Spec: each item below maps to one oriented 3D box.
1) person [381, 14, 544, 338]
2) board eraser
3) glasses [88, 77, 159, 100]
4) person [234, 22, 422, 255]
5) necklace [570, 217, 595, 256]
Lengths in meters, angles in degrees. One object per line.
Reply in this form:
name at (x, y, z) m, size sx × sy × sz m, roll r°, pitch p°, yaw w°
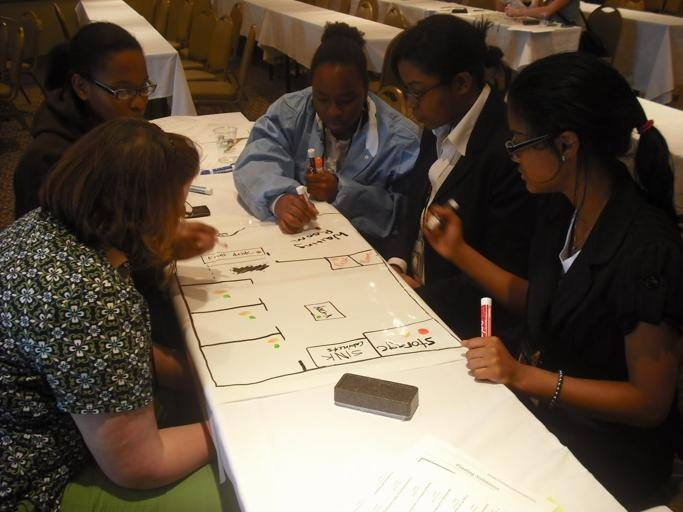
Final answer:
person at (0.531, -0.096, 2.298) m, size 0.595 × 1.785 × 0.675 m, roll -17°, pitch 36°, yaw -19°
board eraser at (0.078, 0.313, 1.137) m, size 0.186 × 0.049 × 0.077 m, roll 12°, pitch 32°, yaw 12°
glasses at (-0.842, -0.641, 1.907) m, size 0.131 × 0.039 × 0.131 m, roll 34°, pitch 32°, yaw 19°
person at (-0.053, -0.364, 2.205) m, size 0.603 × 1.133 × 0.643 m, roll -8°, pitch 31°, yaw -19°
necklace at (0.707, -0.056, 1.504) m, size 0.062 × 0.111 × 0.071 m, roll 5°, pitch -12°, yaw 22°
